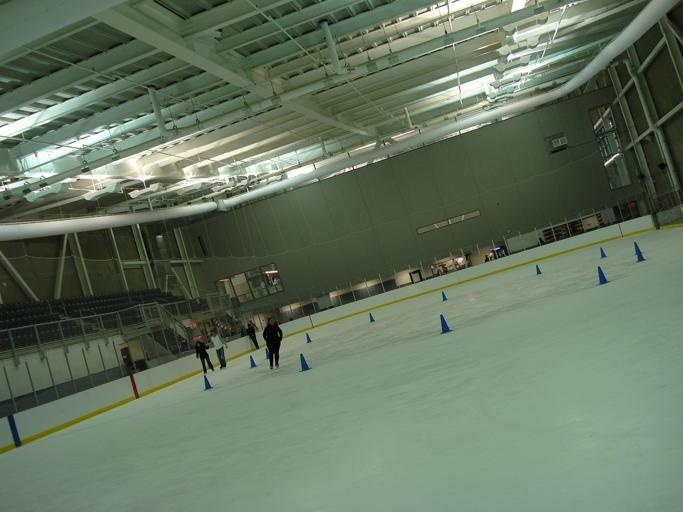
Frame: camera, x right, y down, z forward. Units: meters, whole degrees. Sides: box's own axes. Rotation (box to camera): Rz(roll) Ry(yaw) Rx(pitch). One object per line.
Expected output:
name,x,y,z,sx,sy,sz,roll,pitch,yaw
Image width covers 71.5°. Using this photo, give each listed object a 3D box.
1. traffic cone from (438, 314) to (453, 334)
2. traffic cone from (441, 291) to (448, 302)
traffic cone,2.559,1.627,11.324,0.376,0.428,0.369,-10,-14,-5
traffic cone,4.593,1.777,20.940,0.270,0.443,0.252,-21,15,-30
